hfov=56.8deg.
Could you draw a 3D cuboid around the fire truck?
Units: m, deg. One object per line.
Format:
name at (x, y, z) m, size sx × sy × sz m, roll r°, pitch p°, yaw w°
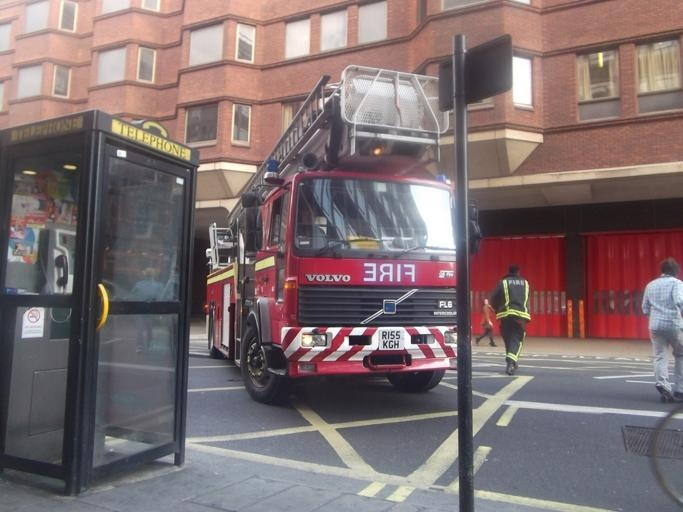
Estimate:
fire truck at (0.015, -0.192, 9.031) m, size 5.465 × 4.754 × 2.211 m, roll 2°, pitch 1°, yaw 42°
